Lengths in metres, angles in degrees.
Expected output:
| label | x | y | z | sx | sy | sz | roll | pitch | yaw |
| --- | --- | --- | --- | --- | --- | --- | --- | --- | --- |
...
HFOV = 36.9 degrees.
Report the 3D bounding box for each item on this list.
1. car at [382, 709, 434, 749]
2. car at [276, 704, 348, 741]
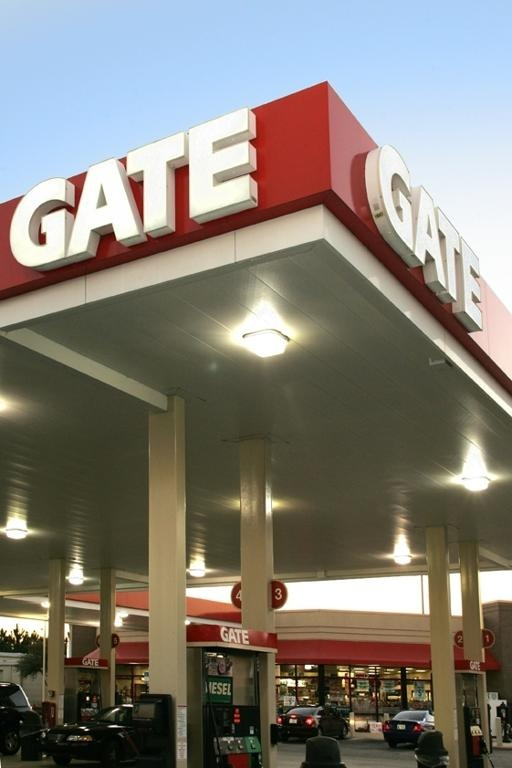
| label | x | y | z | sx | sy | sz | roll | pitch | yaw |
| --- | --- | --- | --- | --- | --- | --- | --- | --- | --- |
| car | 4.836 | 10.917 | 24.159 | 1.339 | 0.916 | 1.592 | -18 | -23 | 42 |
| car | 1.785 | 11.445 | 25.622 | 1.859 | 1.216 | 2.864 | -7 | -17 | 15 |
